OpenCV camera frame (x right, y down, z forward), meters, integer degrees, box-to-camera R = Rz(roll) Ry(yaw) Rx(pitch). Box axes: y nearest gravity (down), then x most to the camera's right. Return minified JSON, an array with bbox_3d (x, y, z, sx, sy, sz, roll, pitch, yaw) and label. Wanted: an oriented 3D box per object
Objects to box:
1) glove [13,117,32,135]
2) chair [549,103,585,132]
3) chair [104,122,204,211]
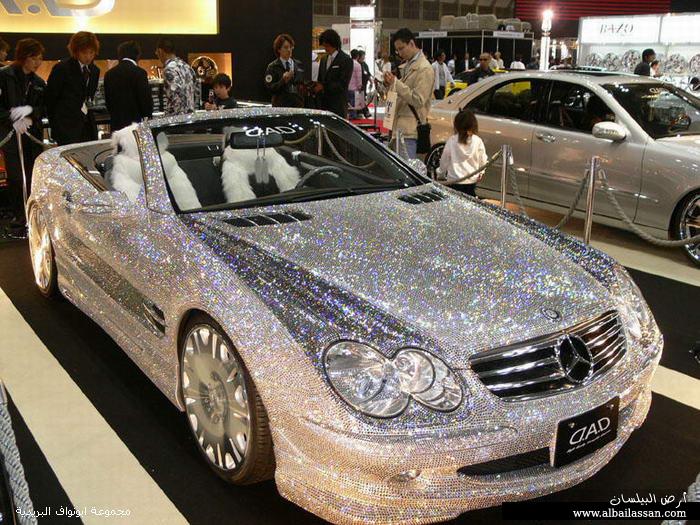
[{"bbox_3d":[-4.106,-1.728,5.821,0.173,0.055,0.184,-32,81,-34],"label":"glove"},{"bbox_3d":[2.675,-1.812,5.766,0.372,0.307,0.456,0,14,-14],"label":"chair"},{"bbox_3d":[-1.323,-0.620,3.058,0.783,0.294,0.602,19,17,-5],"label":"chair"}]
